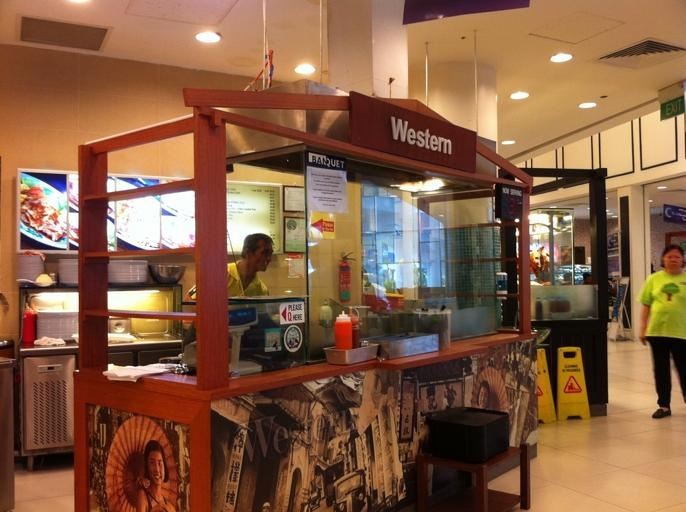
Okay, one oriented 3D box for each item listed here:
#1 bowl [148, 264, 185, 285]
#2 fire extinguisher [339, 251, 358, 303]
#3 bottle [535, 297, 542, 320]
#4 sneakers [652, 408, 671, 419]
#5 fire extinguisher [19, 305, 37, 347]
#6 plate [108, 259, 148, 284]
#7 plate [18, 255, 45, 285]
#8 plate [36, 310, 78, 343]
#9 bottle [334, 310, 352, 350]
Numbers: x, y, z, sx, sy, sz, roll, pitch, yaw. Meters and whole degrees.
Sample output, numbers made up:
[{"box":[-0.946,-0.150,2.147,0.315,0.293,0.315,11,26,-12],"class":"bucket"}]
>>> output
[{"box":[-1.864,0.203,6.212,0.367,0.231,0.229,-1,0,-19],"class":"bowl"},{"box":[0.025,0.161,4.082,0.049,0.352,0.160,-1,0,41],"class":"fire extinguisher"},{"box":[2.347,0.651,7.037,0.081,0.229,0.032,-1,0,9],"class":"bottle"},{"box":[3.636,1.801,6.718,0.276,0.089,0.093,8,-13,-38],"class":"sneakers"},{"box":[-3.046,0.674,5.715,0.137,0.399,0.239,-1,0,-34],"class":"fire extinguisher"},{"box":[-2.189,0.162,5.979,0.288,0.154,0.252,-2,-1,-12],"class":"plate"},{"box":[-3.087,0.125,5.803,0.250,0.242,0.241,0,-3,5],"class":"plate"},{"box":[-2.793,0.688,5.746,0.307,0.188,0.307,1,-2,18],"class":"plate"},{"box":[0.010,0.507,3.960,0.117,0.249,0.133,-1,0,-24],"class":"bottle"}]
